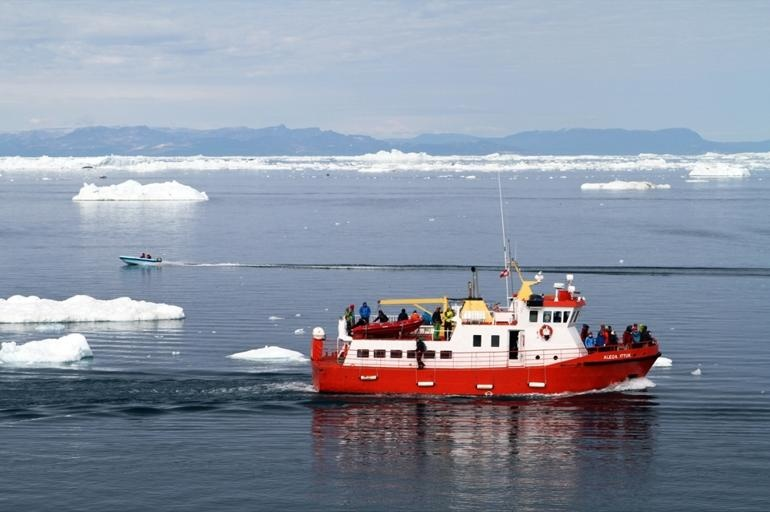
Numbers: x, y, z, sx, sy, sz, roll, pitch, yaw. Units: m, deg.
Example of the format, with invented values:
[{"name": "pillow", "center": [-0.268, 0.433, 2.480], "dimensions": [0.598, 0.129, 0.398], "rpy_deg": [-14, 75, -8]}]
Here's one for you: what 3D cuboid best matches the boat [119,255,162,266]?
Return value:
[{"name": "boat", "center": [-27.063, 0.490, 180.150], "dimensions": [4.854, 1.003, 1.559], "rpy_deg": [5, -8, 0]}]
